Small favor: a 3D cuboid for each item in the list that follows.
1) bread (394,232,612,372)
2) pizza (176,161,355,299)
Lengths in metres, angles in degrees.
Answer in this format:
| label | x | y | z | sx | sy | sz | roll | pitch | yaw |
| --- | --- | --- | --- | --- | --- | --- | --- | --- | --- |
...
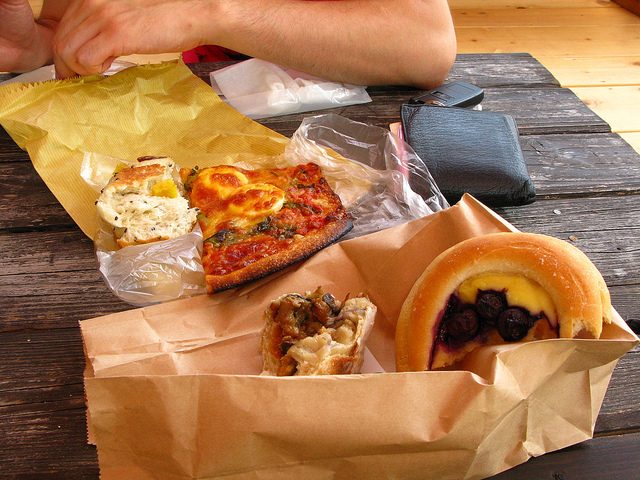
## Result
| label | x | y | z | sx | sy | sz | roll | pitch | yaw |
| --- | --- | --- | --- | --- | --- | --- | --- | --- | --- |
| bread | 0.254 | 0.103 | 0.765 | 0.439 | 0.097 | 0.176 | -3 | 70 | 10 |
| pizza | -0.111 | -0.021 | 1.082 | 0.359 | 0.053 | 0.281 | -16 | 47 | -15 |
